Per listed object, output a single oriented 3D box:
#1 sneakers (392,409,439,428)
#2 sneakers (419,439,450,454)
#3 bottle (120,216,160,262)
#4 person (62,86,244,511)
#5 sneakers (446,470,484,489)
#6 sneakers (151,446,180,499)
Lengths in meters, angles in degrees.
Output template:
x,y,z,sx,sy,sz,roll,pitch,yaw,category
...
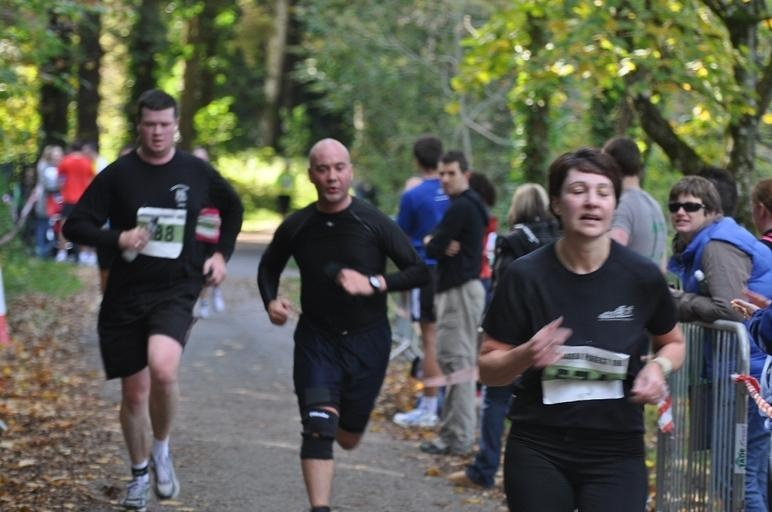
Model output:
x,y,z,sx,sy,sz,roll,pitch,yaw,category
0.333,1.778,11.080,0.437,0.159,0.188,3,1,1,sneakers
0.481,1.945,10.344,0.328,0.121,0.113,6,-6,6,sneakers
-2.034,-0.159,8.576,0.163,0.516,0.152,38,-16,12,bottle
-2.011,0.374,8.671,1.392,3.485,0.903,2,13,-16,person
0.719,2.115,9.522,0.366,0.146,0.125,9,2,13,sneakers
-1.919,1.921,8.770,0.187,0.499,0.223,-14,-20,-16,sneakers
